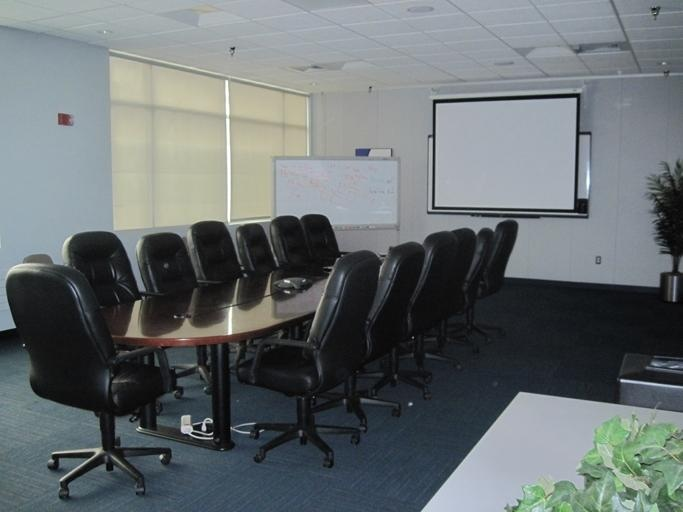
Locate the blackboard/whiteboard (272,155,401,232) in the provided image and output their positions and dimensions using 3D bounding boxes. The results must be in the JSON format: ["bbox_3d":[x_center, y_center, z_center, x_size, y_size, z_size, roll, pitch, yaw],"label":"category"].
[{"bbox_3d":[-0.134,-1.039,8.214,1.530,0.866,0.061,0,6,-9],"label":"blackboard/whiteboard"}]

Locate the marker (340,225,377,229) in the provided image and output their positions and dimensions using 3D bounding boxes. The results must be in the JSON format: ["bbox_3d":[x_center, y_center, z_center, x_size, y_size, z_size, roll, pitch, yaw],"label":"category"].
[{"bbox_3d":[0.252,-0.481,8.545,0.416,0.058,0.041,-1,8,-6],"label":"marker"}]

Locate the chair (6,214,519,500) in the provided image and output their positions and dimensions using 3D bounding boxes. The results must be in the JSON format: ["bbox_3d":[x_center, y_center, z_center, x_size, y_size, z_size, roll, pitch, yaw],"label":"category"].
[{"bbox_3d":[-0.185,0.432,4.544,4.532,1.397,3.100,-4,9,-29],"label":"chair"}]
